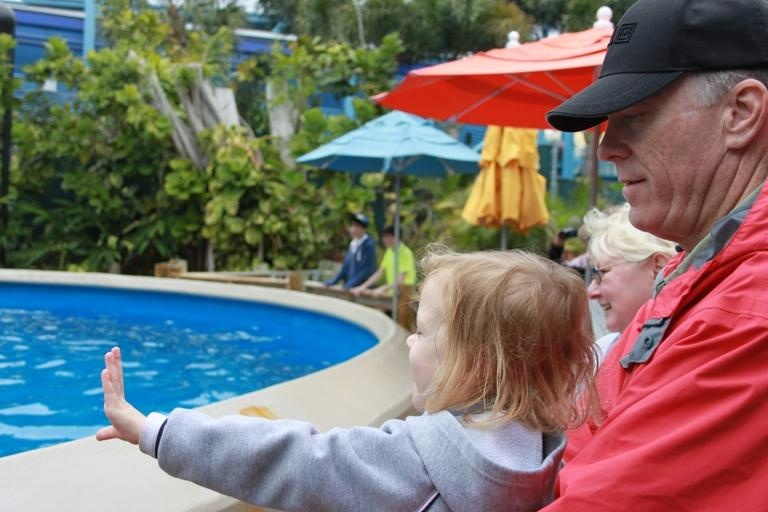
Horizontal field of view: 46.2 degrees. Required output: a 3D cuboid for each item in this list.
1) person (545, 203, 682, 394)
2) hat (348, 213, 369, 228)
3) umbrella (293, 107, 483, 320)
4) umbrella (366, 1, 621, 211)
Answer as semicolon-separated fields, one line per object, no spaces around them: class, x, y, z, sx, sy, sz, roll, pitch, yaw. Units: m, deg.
person;1.080;0.134;4.145;0.639;1.173;0.658;5;-1;11
hat;-0.179;-0.262;6.319;0.119;0.055;0.072;32;5;-46
umbrella;-0.139;-0.443;6.737;1.223;1.611;1.469;5;5;32
umbrella;0.812;-0.917;5.636;1.085;0.631;1.008;-6;1;-36
